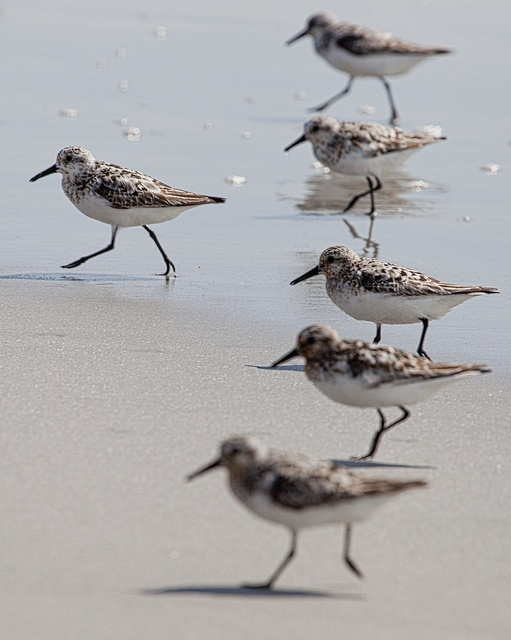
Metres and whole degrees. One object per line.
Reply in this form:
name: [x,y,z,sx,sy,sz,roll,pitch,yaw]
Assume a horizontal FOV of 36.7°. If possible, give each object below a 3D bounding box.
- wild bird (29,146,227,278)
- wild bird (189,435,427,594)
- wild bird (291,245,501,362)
wild bird: [-1.101,-0.938,6.750,1.738,0.890,0.493,0,9,-25]
wild bird: [0.188,0.676,2.725,0.951,0.432,0.244,5,-19,-10]
wild bird: [0.858,-0.122,4.671,1.323,0.510,0.364,2,-5,-9]
